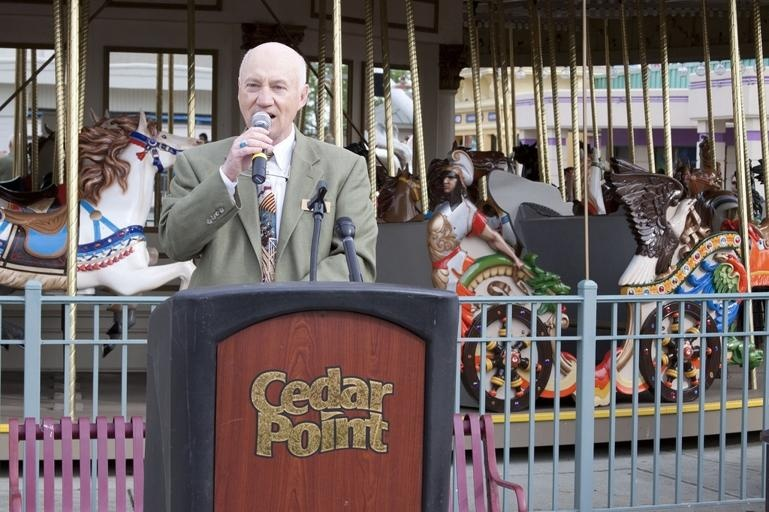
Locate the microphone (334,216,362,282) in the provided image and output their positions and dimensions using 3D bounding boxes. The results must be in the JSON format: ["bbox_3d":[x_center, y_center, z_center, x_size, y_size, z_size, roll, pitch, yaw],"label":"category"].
[{"bbox_3d":[-0.242,0.041,11.920,0.132,0.688,0.133,-6,-31,-12],"label":"microphone"}]

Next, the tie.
[{"bbox_3d":[-0.901,-0.254,12.236,0.159,1.011,0.141,-3,-6,3],"label":"tie"}]

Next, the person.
[{"bbox_3d":[-0.892,-0.691,12.233,1.661,1.596,0.626,-1,0,-8],"label":"person"}]
